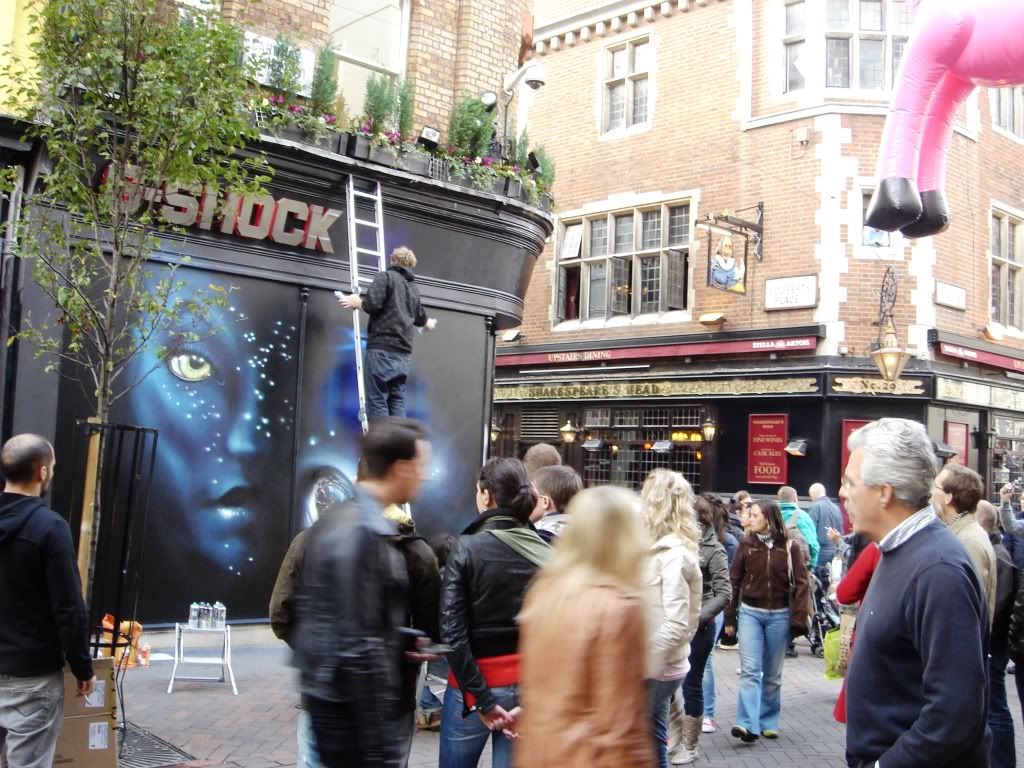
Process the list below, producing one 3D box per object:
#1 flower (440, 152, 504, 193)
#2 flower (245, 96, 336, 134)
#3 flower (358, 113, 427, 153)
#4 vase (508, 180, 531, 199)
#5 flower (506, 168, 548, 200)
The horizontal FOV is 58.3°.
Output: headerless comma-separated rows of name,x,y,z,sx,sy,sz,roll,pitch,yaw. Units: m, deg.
flower,-0.510,-2.717,11.899,1.031,0.382,0.137,7,-8,-33
flower,-2.519,-3.047,10.488,0.840,0.362,0.702,8,2,38
flower,-1.465,-3.056,11.223,0.691,0.250,0.364,1,9,-37
vase,0.080,-2.634,12.327,0.073,0.185,0.317,1,0,42
flower,0.138,-2.699,12.488,0.405,0.213,0.455,5,3,-7
